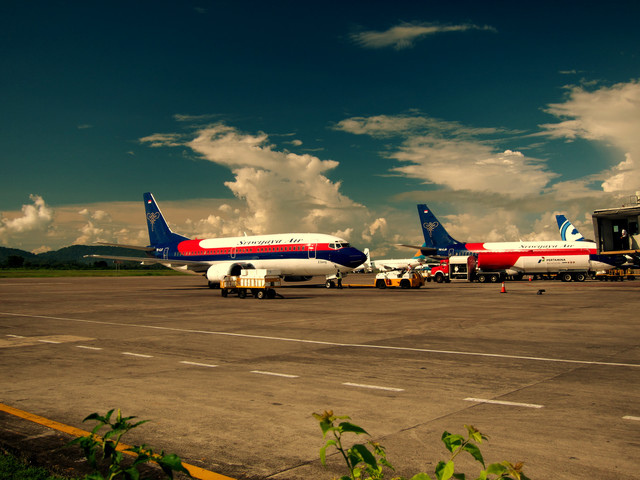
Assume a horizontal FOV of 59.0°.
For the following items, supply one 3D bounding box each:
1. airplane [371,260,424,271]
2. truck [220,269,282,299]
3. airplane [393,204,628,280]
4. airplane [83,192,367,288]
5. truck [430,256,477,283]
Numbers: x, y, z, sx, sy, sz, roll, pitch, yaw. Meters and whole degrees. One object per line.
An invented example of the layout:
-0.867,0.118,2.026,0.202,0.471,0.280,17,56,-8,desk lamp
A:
11.947,3.756,84.195,8.467,1.905,6.782,1,2,18,airplane
-4.769,3.028,38.699,1.595,1.896,4.351,1,-1,-41,truck
22.327,0.786,68.234,20.274,4.148,17.870,-2,-2,36,airplane
-8.632,1.312,53.153,20.921,4.705,16.045,-2,-2,34,airplane
16.403,3.521,67.773,5.503,2.031,3.567,1,-1,38,truck
